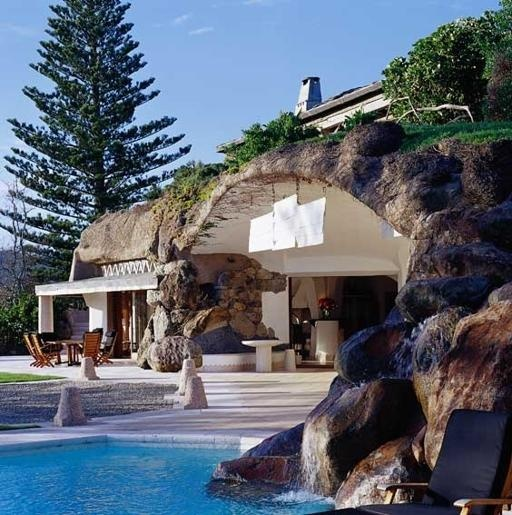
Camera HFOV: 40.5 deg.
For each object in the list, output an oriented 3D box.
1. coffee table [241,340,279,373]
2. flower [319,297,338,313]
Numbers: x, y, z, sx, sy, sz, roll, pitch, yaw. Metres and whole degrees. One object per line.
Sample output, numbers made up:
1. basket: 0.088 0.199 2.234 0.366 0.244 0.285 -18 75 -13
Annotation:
1. coffee table: 0.173 2.339 16.507 0.934 0.782 0.981 5 -10 -32
2. flower: 2.239 1.525 21.773 0.463 0.516 0.390 -1 -5 2
